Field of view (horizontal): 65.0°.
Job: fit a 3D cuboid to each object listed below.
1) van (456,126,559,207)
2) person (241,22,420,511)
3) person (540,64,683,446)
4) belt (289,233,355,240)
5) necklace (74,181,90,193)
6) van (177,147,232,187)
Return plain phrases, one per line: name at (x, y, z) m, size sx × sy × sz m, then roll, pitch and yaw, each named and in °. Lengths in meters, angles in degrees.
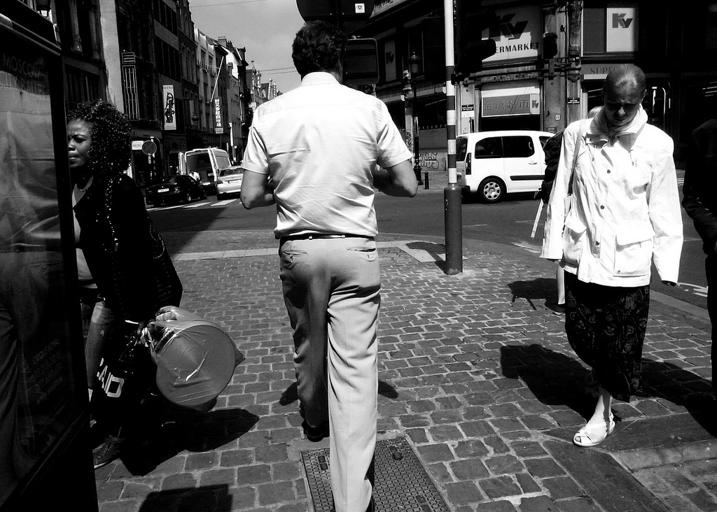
van at (4.922, -3.182, 19.116) m, size 3.307 × 1.826 × 2.440 m, roll -7°, pitch 13°, yaw -5°
person at (-0.131, 0.037, 2.973) m, size 0.718 × 2.484 × 0.655 m, roll 5°, pitch 11°, yaw 38°
person at (1.518, 0.020, 3.424) m, size 0.773 × 2.259 × 0.454 m, roll 4°, pitch 10°, yaw 32°
belt at (-0.188, -0.097, 2.827) m, size 0.350 × 0.038 × 0.053 m, roll 0°, pitch 10°, yaw 9°
necklace at (-1.585, -0.387, 3.221) m, size 0.053 × 0.034 × 0.076 m, roll -5°, pitch -25°, yaw -14°
van at (-9.382, -5.785, 36.581) m, size 2.085 × 2.449 × 3.964 m, roll -1°, pitch 9°, yaw 8°
